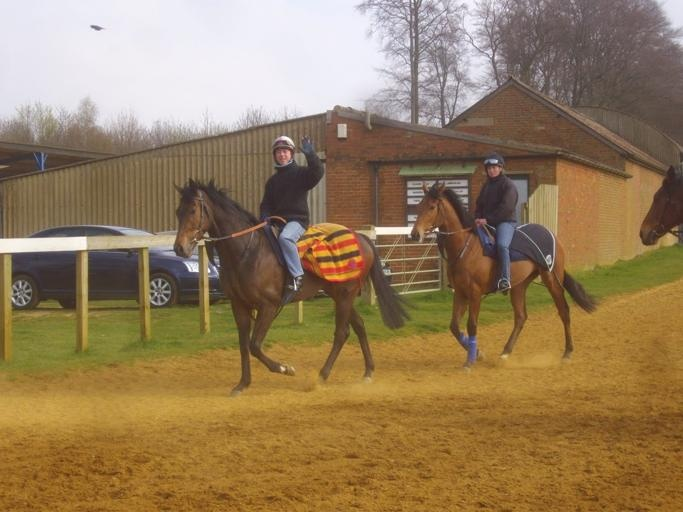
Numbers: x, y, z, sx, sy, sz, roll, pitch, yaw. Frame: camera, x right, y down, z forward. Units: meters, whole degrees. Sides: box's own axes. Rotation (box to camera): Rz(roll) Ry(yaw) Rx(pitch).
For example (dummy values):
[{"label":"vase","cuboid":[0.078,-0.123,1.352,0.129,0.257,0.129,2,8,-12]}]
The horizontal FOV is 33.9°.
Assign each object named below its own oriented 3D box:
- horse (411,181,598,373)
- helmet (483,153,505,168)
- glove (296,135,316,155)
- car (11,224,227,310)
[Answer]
[{"label":"horse","cuboid":[2.926,0.297,21.310,3.530,3.532,1.014,-6,15,-20]},{"label":"helmet","cuboid":[2.888,-1.819,21.236,0.328,0.263,0.281,0,15,0]},{"label":"glove","cuboid":[-0.623,-1.957,19.737,0.243,0.393,0.838,-1,15,-2]},{"label":"car","cuboid":[-5.204,0.423,26.331,5.163,1.953,2.318,-1,-2,4]}]
